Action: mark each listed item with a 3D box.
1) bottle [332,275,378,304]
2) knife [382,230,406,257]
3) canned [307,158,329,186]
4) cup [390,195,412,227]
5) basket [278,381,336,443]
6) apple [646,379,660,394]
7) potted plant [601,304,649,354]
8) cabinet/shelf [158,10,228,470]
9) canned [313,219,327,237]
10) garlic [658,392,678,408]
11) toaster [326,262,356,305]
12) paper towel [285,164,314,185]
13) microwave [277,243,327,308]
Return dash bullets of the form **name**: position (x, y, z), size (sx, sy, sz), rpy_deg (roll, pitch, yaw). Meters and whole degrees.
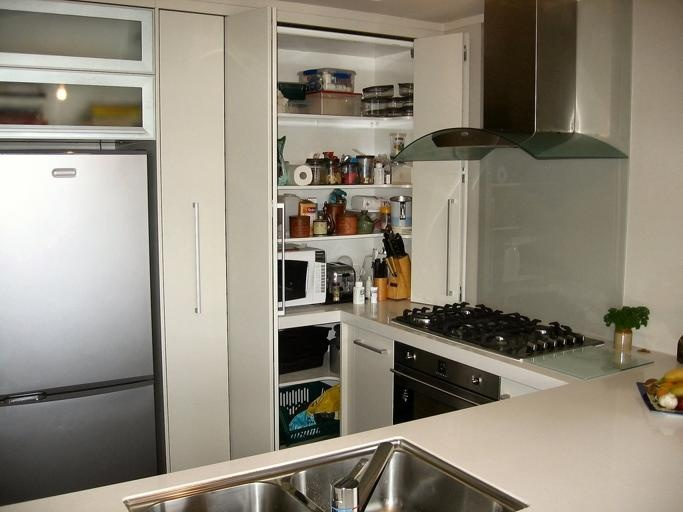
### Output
- **bottle**: position (0.096, 0.222, 3.503), size (0.299, 0.155, 0.214), rpy_deg (-2, 10, -9)
- **knife**: position (0.348, -0.072, 3.525), size (0.113, 0.210, 0.051), rpy_deg (-19, 27, -6)
- **canned**: position (-0.144, -0.537, 3.459), size (0.160, 0.170, 0.163), rpy_deg (0, 6, 1)
- **cup**: position (0.404, -0.293, 3.616), size (0.144, 0.171, 0.191), rpy_deg (1, 10, 2)
- **basket**: position (-0.219, 1.035, 3.524), size (0.375, 0.122, 0.392), rpy_deg (-7, 24, -20)
- **apple**: position (1.182, 0.491, 2.032), size (0.036, 0.023, 0.048), rpy_deg (9, 23, 29)
- **potted plant**: position (1.329, 0.332, 2.506), size (0.152, 0.203, 0.132), rpy_deg (-3, 10, -14)
- **cabinet/shelf**: position (-0.866, -0.002, 3.224), size (0.451, 2.436, 0.301), rpy_deg (1, -6, -22)
- **canned**: position (-0.142, -0.171, 3.452), size (0.094, 0.103, 0.095), rpy_deg (-1, 6, -7)
- **garlic**: position (1.163, 0.501, 1.901), size (0.050, 0.020, 0.049), rpy_deg (-27, 27, -34)
- **toaster**: position (-0.024, 0.177, 3.701), size (0.213, 0.276, 0.300), rpy_deg (0, 7, -16)
- **paper towel**: position (-0.256, -0.500, 3.382), size (0.168, 0.131, 0.095), rpy_deg (-4, 10, -16)
- **microwave**: position (-0.343, 0.132, 3.412), size (0.388, 0.357, 0.278), rpy_deg (-4, 9, -43)
